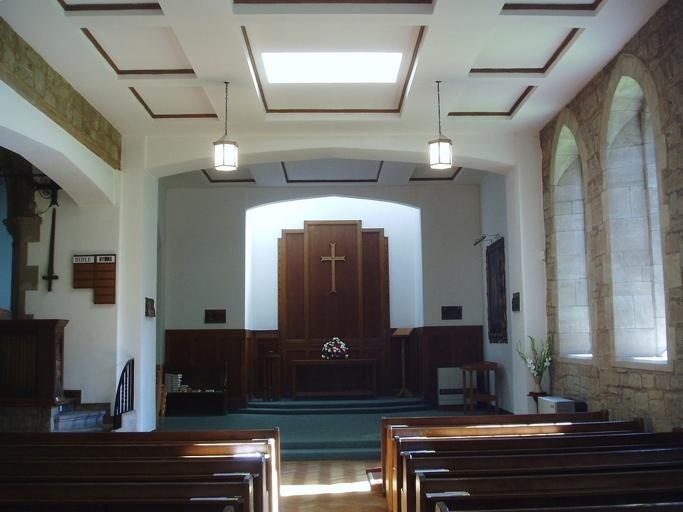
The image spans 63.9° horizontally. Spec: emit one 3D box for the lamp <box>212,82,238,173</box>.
[{"bbox_3d":[-1.582,-1.825,7.485,0.264,1.122,0.266,-2,10,-28],"label":"lamp"}]

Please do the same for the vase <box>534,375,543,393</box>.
[{"bbox_3d":[3.025,1.947,8.419,0.159,0.260,0.274,-6,-13,19],"label":"vase"}]

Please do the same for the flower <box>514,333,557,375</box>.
[{"bbox_3d":[3.025,1.572,8.518,0.527,0.620,0.565,0,-1,33],"label":"flower"}]
